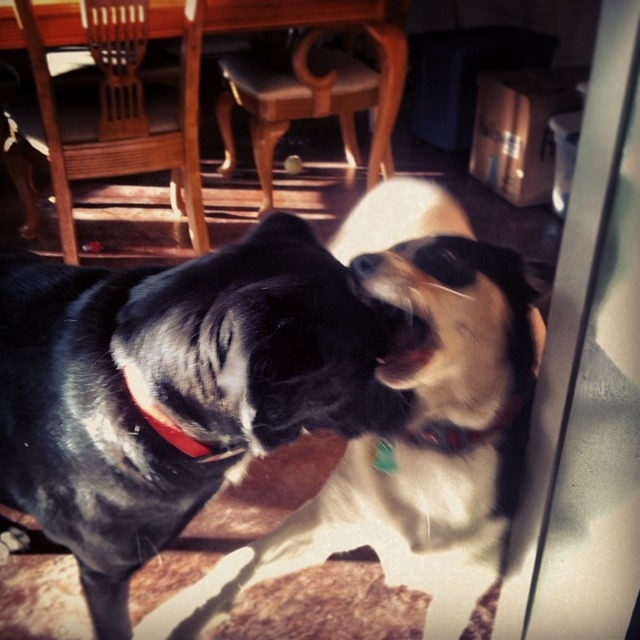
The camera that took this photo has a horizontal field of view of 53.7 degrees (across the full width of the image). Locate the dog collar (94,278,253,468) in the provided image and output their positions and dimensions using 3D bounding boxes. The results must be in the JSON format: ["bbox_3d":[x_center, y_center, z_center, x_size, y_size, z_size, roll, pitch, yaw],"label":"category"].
[{"bbox_3d":[-0.262,0.115,1.037,0.066,0.254,0.196,-21,28,38],"label":"dog collar"}]

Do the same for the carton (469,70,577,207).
[{"bbox_3d":[0.396,-0.312,1.076,0.207,0.164,0.136,-9,37,-17],"label":"carton"}]

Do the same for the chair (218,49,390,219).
[{"bbox_3d":[-0.138,-0.365,1.226,0.354,0.224,0.338,-25,37,-38],"label":"chair"}]
